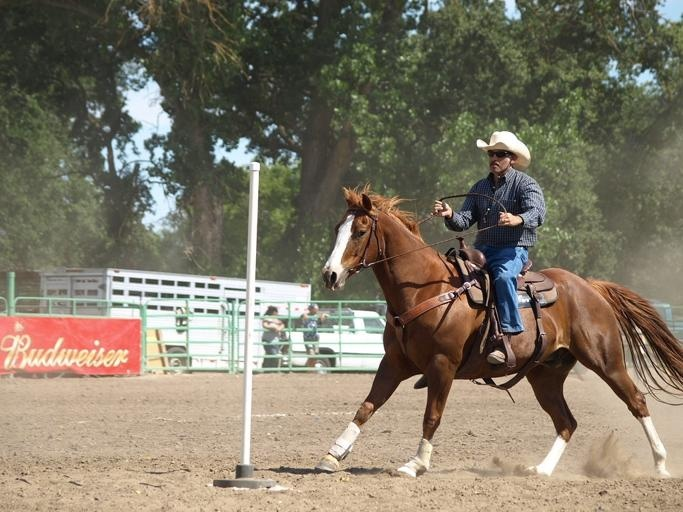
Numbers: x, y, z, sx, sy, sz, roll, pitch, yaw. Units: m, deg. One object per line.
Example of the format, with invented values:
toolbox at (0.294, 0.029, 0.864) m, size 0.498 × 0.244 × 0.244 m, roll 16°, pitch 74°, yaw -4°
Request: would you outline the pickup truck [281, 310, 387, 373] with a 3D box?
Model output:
pickup truck at (0.029, 3.105, 43.661) m, size 3.273 × 2.408 × 2.449 m, roll -4°, pitch 7°, yaw 8°
